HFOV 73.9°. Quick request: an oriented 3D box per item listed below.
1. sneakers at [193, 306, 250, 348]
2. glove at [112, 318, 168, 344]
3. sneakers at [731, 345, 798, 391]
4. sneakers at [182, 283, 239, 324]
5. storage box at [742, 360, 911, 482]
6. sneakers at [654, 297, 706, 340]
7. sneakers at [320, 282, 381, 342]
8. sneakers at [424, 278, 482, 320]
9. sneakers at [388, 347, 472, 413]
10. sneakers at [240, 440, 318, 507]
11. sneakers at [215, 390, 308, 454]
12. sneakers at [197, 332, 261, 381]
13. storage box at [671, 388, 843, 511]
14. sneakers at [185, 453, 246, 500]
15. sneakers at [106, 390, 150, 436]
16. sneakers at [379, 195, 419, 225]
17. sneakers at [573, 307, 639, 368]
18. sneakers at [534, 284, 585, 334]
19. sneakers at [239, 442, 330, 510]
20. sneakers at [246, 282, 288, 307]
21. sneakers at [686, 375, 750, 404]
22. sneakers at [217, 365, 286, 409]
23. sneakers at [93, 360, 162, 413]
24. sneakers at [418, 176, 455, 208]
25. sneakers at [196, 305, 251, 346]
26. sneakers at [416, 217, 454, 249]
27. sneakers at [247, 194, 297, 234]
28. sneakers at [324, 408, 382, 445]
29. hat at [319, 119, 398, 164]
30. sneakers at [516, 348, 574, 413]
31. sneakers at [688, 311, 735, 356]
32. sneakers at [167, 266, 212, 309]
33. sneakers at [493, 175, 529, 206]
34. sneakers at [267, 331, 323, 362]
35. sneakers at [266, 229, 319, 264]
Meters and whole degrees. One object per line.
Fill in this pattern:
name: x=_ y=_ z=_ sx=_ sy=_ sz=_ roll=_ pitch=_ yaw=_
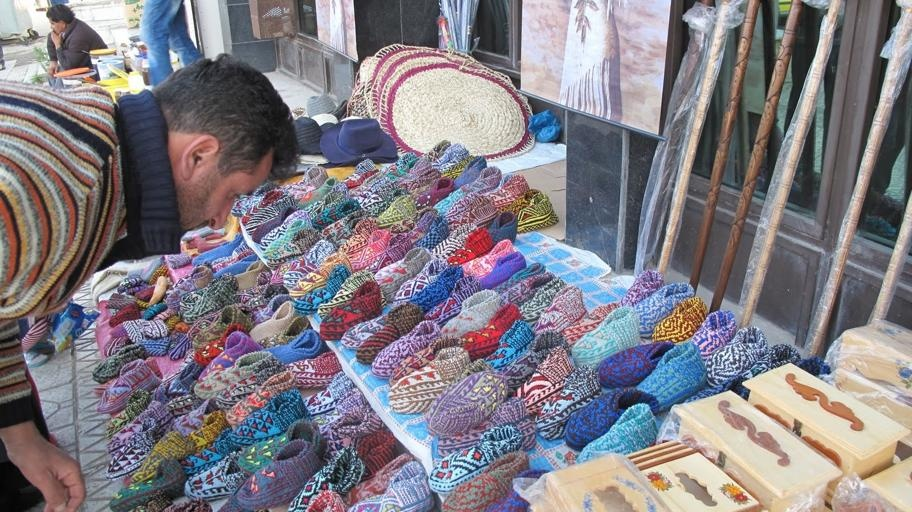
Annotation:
sneakers: x=-1.479 y=0.483 z=3.831 sx=0.363 sy=0.131 sz=0.219 roll=-32 pitch=42 yaw=-8
glove: x=-2.063 y=0.493 z=4.007 sx=0.205 sy=0.059 sz=0.202 roll=-17 pitch=32 yaw=-34
sneakers: x=1.348 y=0.486 z=2.751 sx=0.415 sy=0.126 sz=0.137 roll=-4 pitch=37 yaw=3
sneakers: x=-1.659 y=0.290 z=4.018 sx=0.361 sy=0.127 sz=0.231 roll=-24 pitch=43 yaw=-9
storage box: x=1.386 y=0.602 z=2.252 sx=0.329 sy=0.155 sz=0.536 roll=-15 pitch=30 yaw=-32
sneakers: x=1.121 y=0.319 z=3.054 sx=0.292 sy=0.104 sz=0.166 roll=-40 pitch=30 yaw=-16
sneakers: x=-0.590 y=0.292 z=3.369 sx=0.163 sy=0.176 sz=0.458 roll=31 pitch=48 yaw=30
sneakers: x=-0.031 y=0.242 z=3.344 sx=0.371 sy=0.148 sz=0.119 roll=-25 pitch=34 yaw=-10
sneakers: x=-0.098 y=0.605 z=2.932 sx=0.509 sy=0.179 sz=0.250 roll=-22 pitch=3 yaw=27
sneakers: x=-0.829 y=1.029 z=2.872 sx=0.398 sy=0.147 sz=0.229 roll=-29 pitch=37 yaw=-16
sneakers: x=-0.983 y=0.840 z=3.117 sx=0.442 sy=0.156 sz=0.157 roll=-20 pitch=22 yaw=-33
sneakers: x=-1.398 y=0.539 z=3.660 sx=0.274 sy=0.536 sz=0.225 roll=-13 pitch=71 yaw=-24
storage box: x=1.124 y=0.663 z=2.188 sx=0.331 sy=0.118 sz=0.504 roll=-13 pitch=36 yaw=-27
sneakers: x=-1.197 y=1.118 z=3.058 sx=0.139 sy=0.133 sz=0.380 roll=42 pitch=17 yaw=23
sneakers: x=-1.905 y=0.913 z=3.521 sx=0.079 sy=0.089 sz=0.232 roll=33 pitch=69 yaw=31
sneakers: x=-0.369 y=-0.302 z=4.052 sx=0.270 sy=0.094 sz=0.157 roll=-34 pitch=38 yaw=-19
sneakers: x=0.744 y=0.399 z=3.017 sx=0.386 sy=0.157 sz=0.184 roll=-21 pitch=27 yaw=-18
sneakers: x=0.558 y=0.279 z=3.193 sx=0.130 sy=0.134 sz=0.383 roll=25 pitch=46 yaw=34
sneakers: x=-0.826 y=1.037 z=2.882 sx=0.416 sy=0.155 sz=0.236 roll=-30 pitch=36 yaw=-13
sneakers: x=-1.270 y=0.245 z=4.026 sx=0.300 sy=0.112 sz=0.161 roll=-10 pitch=48 yaw=3
sneakers: x=1.119 y=0.571 z=2.594 sx=0.278 sy=0.103 sz=0.092 roll=-12 pitch=12 yaw=9
sneakers: x=-1.202 y=0.754 z=3.431 sx=0.127 sy=0.154 sz=0.385 roll=13 pitch=0 yaw=28
sneakers: x=-2.021 y=0.792 z=3.727 sx=0.451 sy=0.154 sz=0.248 roll=-31 pitch=14 yaw=-6
sneakers: x=-0.141 y=-0.462 z=4.338 sx=0.298 sy=0.105 sz=0.164 roll=-32 pitch=48 yaw=-23
sneakers: x=-1.456 y=0.417 z=3.789 sx=0.341 sy=0.136 sz=0.204 roll=-31 pitch=37 yaw=-9
sneakers: x=-0.142 y=-0.107 z=3.882 sx=0.131 sy=0.112 sz=0.299 roll=2 pitch=29 yaw=25
sneakers: x=-1.332 y=-0.301 z=4.303 sx=0.342 sy=0.141 sz=0.197 roll=-37 pitch=23 yaw=-8
sneakers: x=-0.525 y=0.848 z=3.016 sx=0.260 sy=0.089 sz=0.152 roll=-24 pitch=47 yaw=-7
hat: x=-0.902 y=-1.050 z=5.466 sx=0.652 sy=0.326 sz=0.513 roll=-10 pitch=32 yaw=-9
sneakers: x=0.417 y=0.566 z=2.832 sx=0.366 sy=0.139 sz=0.155 roll=-43 pitch=51 yaw=-10
sneakers: x=1.240 y=0.364 z=2.911 sx=0.301 sy=0.104 sz=0.148 roll=-37 pitch=34 yaw=-27
sneakers: x=-1.884 y=0.197 z=4.286 sx=0.400 sy=0.136 sz=0.137 roll=-22 pitch=34 yaw=4
sneakers: x=0.368 y=-0.452 z=4.210 sx=0.276 sy=0.097 sz=0.160 roll=-35 pitch=35 yaw=-5
sneakers: x=-0.939 y=0.535 z=3.473 sx=0.346 sy=0.121 sz=0.149 roll=-7 pitch=21 yaw=-28
sneakers: x=-1.176 y=-0.085 z=4.136 sx=0.370 sy=0.128 sz=0.183 roll=33 pitch=75 yaw=32
